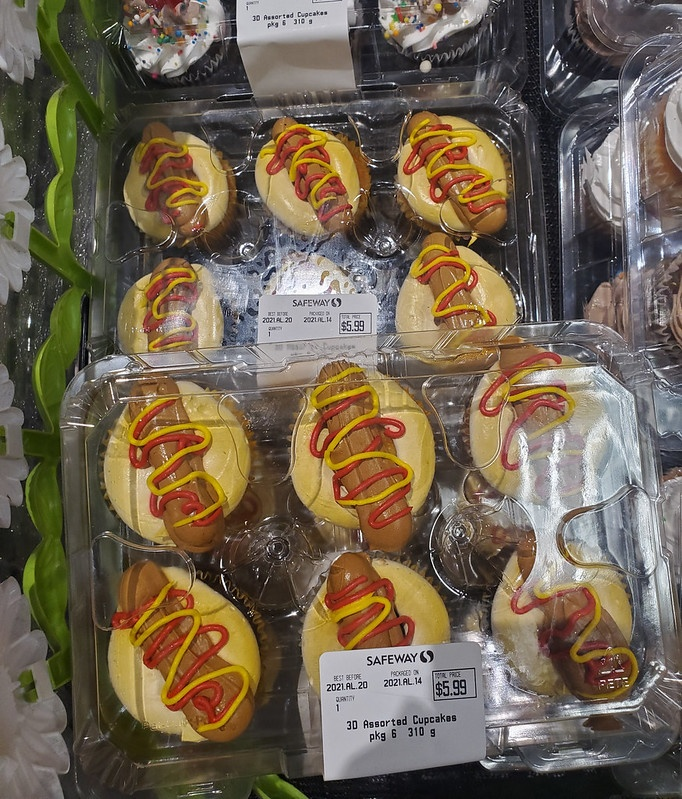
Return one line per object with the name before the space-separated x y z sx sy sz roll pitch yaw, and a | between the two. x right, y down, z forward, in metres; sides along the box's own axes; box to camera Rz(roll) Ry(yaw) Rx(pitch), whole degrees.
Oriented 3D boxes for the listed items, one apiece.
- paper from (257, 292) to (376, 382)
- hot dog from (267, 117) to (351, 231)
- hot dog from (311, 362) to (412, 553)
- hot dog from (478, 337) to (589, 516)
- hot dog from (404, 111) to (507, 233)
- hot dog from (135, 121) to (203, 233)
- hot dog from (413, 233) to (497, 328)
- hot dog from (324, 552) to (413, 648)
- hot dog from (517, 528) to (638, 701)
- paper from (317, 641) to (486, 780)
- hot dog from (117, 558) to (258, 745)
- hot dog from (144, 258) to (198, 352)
paper | -0.047 -0.109 1.175 0.218 0.116 0.185 0 83 1
hot dog | -0.067 -0.435 1.354 0.137 0.069 0.220 -29 88 -6
hot dog | 0.029 0.087 1.108 0.141 0.094 0.309 -15 72 0
hot dog | 0.313 0.036 1.055 0.199 0.075 0.235 -6 85 9
hot dog | 0.217 -0.426 1.395 0.197 0.095 0.246 -34 82 -5
hot dog | -0.344 -0.439 1.375 0.121 0.065 0.225 -20 84 -3
hot dog | 0.203 -0.196 1.240 0.119 0.073 0.251 -10 62 2
hot dog | 0.041 0.306 0.964 0.097 0.055 0.156 -18 63 -14
hot dog | 0.351 0.331 1.024 0.135 0.064 0.192 -34 77 7
paper | 0.086 0.430 0.930 0.227 0.038 0.163 -3 83 0
hot dog | -0.235 0.381 1.080 0.196 0.088 0.269 -32 79 -11
hot dog | -0.325 -0.173 1.266 0.089 0.074 0.192 -5 69 -9
